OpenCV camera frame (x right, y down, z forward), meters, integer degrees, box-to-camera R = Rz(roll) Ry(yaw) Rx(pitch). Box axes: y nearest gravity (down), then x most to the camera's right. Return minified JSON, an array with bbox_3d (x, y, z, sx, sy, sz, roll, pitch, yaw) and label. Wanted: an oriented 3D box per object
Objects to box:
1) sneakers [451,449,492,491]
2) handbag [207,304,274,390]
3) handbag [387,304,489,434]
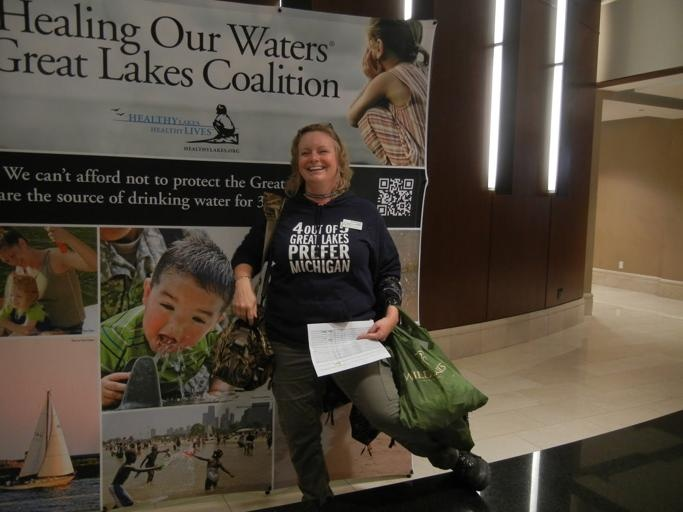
[{"bbox_3d":[0.743,1.163,3.183,0.159,0.114,0.282,-32,21,-16],"label":"sneakers"},{"bbox_3d":[-0.484,0.458,2.903,0.286,0.415,0.232,1,-17,25],"label":"handbag"},{"bbox_3d":[0.468,0.561,2.874,0.443,0.563,0.318,-5,6,-6],"label":"handbag"}]
